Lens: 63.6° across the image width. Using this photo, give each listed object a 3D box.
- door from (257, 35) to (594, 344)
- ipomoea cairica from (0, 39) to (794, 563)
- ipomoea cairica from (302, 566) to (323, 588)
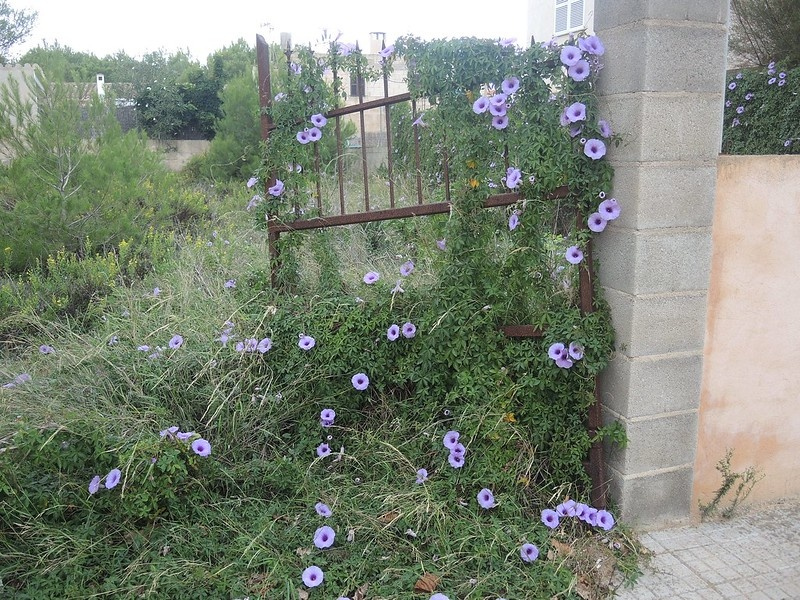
[{"bbox_3d":[0.131,-0.593,3.783,2.305,2.616,0.091,5,17,34],"label":"door"},{"bbox_3d":[-0.099,0.057,3.739,3.315,2.823,0.424,5,9,29],"label":"ipomoea cairica"},{"bbox_3d":[-0.395,1.255,2.906,0.098,0.086,0.059,-11,20,-13],"label":"ipomoea cairica"}]
